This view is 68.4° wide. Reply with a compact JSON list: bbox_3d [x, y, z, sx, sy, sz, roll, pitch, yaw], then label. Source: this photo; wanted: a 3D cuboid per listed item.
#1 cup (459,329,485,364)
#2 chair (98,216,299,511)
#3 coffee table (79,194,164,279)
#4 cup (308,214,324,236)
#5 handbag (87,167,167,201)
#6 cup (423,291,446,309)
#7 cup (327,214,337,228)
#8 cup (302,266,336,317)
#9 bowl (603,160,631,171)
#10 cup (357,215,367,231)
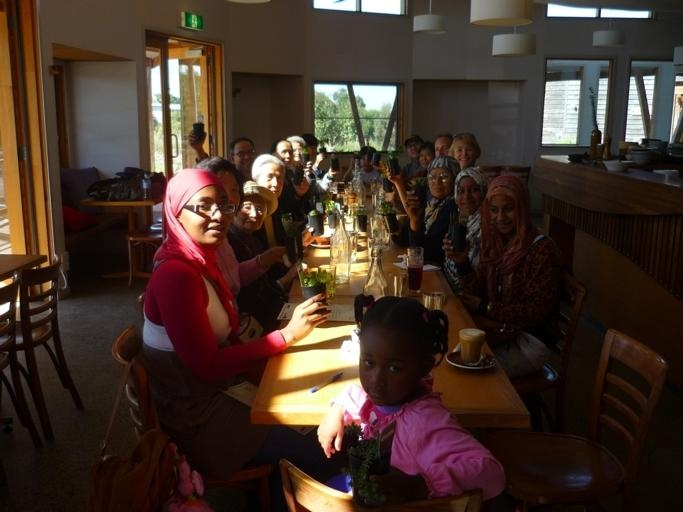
[{"bbox_3d":[0.487,0.336,1.915,0.106,0.131,0.111,0,6,0],"label":"cup"},{"bbox_3d":[-0.587,0.372,2.465,0.917,1.786,0.858,-1,4,-20],"label":"chair"},{"bbox_3d":[-2.869,-0.268,6.451,0.878,0.926,0.918,1,11,-6],"label":"coffee table"},{"bbox_3d":[-0.187,-0.243,3.901,0.129,0.227,0.153,1,19,4],"label":"cup"},{"bbox_3d":[-2.823,-0.897,6.558,0.732,0.269,0.607,0,12,-6],"label":"handbag"},{"bbox_3d":[0.449,0.209,2.391,0.104,0.084,0.086,1,0,-26],"label":"cup"},{"bbox_3d":[-0.088,-0.299,4.381,0.112,0.137,0.120,0,3,0],"label":"cup"},{"bbox_3d":[-0.113,0.170,2.368,0.163,0.284,0.189,0,0,16],"label":"cup"},{"bbox_3d":[2.345,-0.768,4.279,0.189,0.079,0.290,8,16,29],"label":"bowl"},{"bbox_3d":[0.168,-0.292,4.390,0.090,0.137,0.083,-1,18,0],"label":"cup"}]
